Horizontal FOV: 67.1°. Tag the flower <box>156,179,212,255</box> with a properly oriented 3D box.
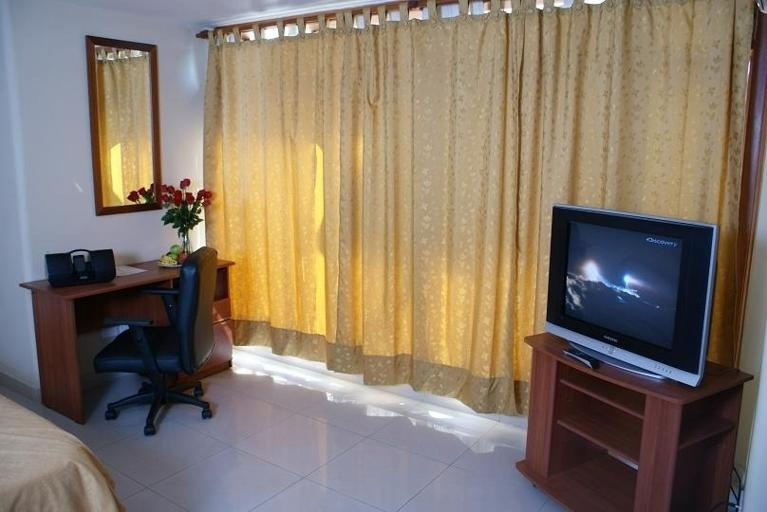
[{"bbox_3d":[-1.728,-0.294,5.046,0.386,0.568,0.416,2,-1,27],"label":"flower"}]

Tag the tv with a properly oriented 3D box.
[{"bbox_3d":[1.535,0.257,3.474,0.503,0.966,0.960,-10,16,-41],"label":"tv"}]

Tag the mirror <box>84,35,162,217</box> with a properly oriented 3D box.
[{"bbox_3d":[-2.200,-1.111,4.929,0.149,1.427,0.748,7,18,34],"label":"mirror"}]

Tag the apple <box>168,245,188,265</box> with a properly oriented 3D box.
[{"bbox_3d":[-1.764,-0.010,4.978,0.157,0.102,0.209,-13,22,-25],"label":"apple"}]

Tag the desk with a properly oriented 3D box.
[{"bbox_3d":[-2.143,0.658,5.016,0.793,1.010,1.523,2,10,33],"label":"desk"}]

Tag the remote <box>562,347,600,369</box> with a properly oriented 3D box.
[{"bbox_3d":[1.241,0.630,3.599,0.163,0.040,0.084,25,19,38],"label":"remote"}]

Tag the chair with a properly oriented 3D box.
[{"bbox_3d":[-1.759,0.618,4.528,0.830,1.264,0.890,0,9,-18],"label":"chair"}]
